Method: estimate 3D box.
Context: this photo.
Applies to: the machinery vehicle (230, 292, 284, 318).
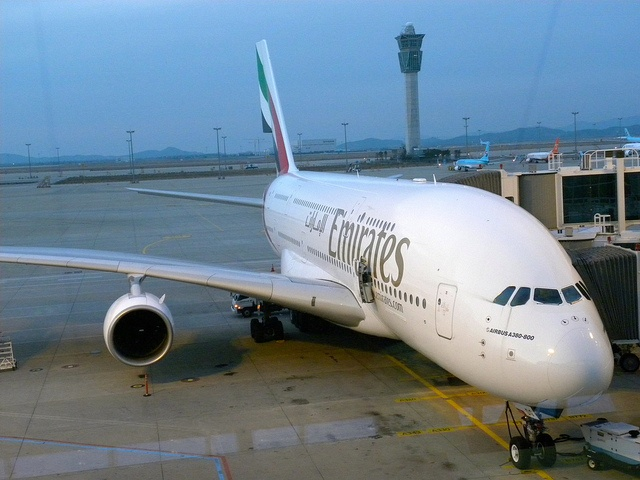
[{"bbox_3d":[-2.782,2.829,23.503,2.531,0.834,1.260,2,0,-2],"label":"machinery vehicle"}]
